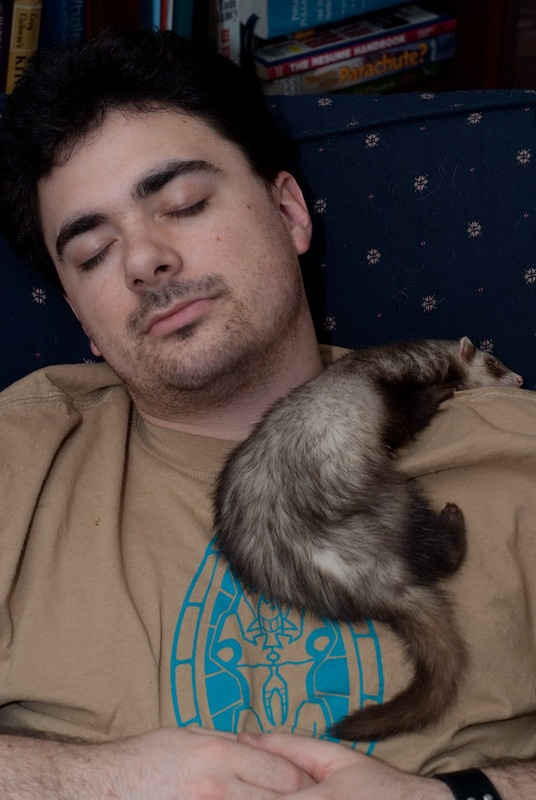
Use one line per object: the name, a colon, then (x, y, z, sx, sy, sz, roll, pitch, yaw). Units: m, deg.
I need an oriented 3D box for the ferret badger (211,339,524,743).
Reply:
ferret badger: (0.291, 0.227, 1.693, 0.500, 0.189, 0.768, 31, 75, 27)
